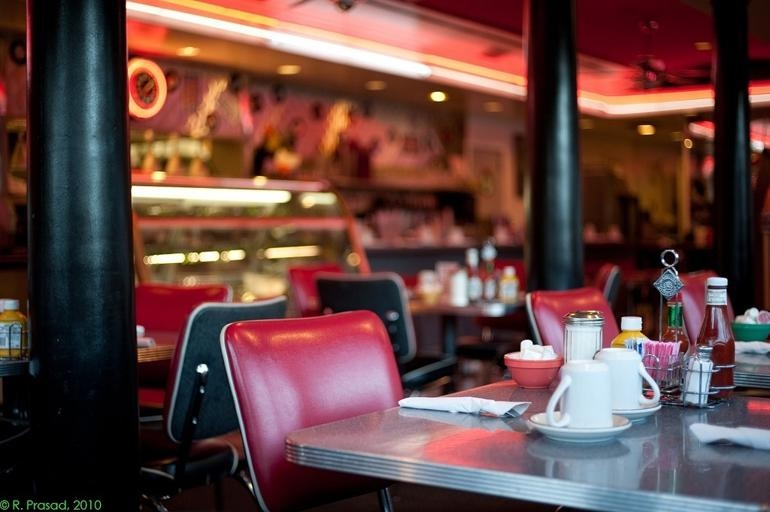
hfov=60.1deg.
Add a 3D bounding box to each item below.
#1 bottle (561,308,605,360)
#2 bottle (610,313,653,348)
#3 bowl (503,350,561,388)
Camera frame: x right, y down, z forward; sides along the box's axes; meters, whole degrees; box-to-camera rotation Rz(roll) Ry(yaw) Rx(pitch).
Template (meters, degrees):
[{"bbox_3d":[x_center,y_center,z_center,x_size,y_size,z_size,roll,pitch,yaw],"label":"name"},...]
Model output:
[{"bbox_3d":[0.555,0.230,1.858,0.102,0.142,0.117,0,7,15],"label":"bottle"},{"bbox_3d":[0.711,0.207,1.934,0.100,0.172,0.103,2,0,0],"label":"bottle"},{"bbox_3d":[0.459,0.357,2.038,0.170,0.081,0.165,1,-8,0],"label":"bowl"}]
